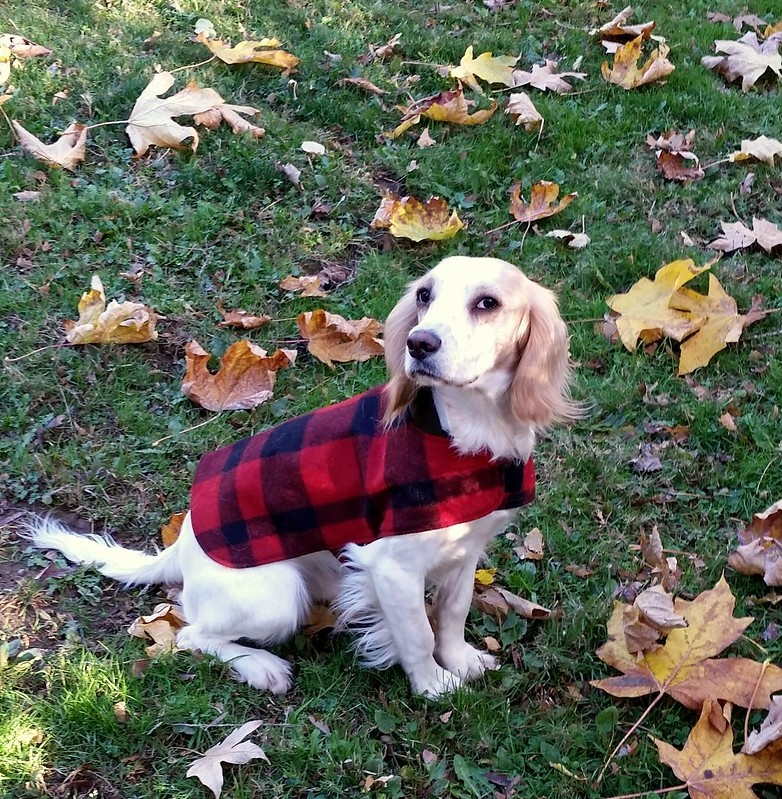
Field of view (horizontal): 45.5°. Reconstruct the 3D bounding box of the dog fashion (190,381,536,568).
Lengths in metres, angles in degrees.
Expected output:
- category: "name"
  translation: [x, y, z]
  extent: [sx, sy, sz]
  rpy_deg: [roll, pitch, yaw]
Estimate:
- category: "dog fashion"
  translation: [-0.126, 0.351, 3.187]
  extent: [1.083, 0.316, 0.639]
  rpy_deg: [-11, 22, -1]
